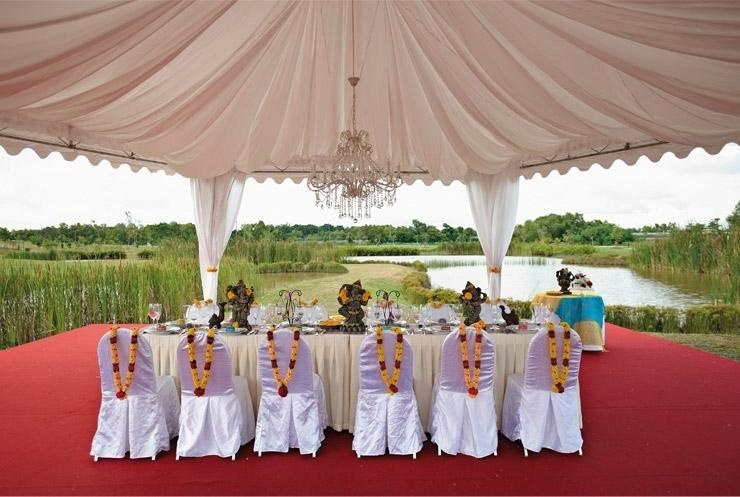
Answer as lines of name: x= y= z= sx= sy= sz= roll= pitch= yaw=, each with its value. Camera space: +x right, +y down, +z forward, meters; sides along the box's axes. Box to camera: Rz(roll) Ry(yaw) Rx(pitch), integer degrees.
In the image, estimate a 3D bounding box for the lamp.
lamp: x=-0.222 y=-1.731 z=8.132 sx=1.135 sy=2.645 sz=1.517 roll=0 pitch=-1 yaw=-36
